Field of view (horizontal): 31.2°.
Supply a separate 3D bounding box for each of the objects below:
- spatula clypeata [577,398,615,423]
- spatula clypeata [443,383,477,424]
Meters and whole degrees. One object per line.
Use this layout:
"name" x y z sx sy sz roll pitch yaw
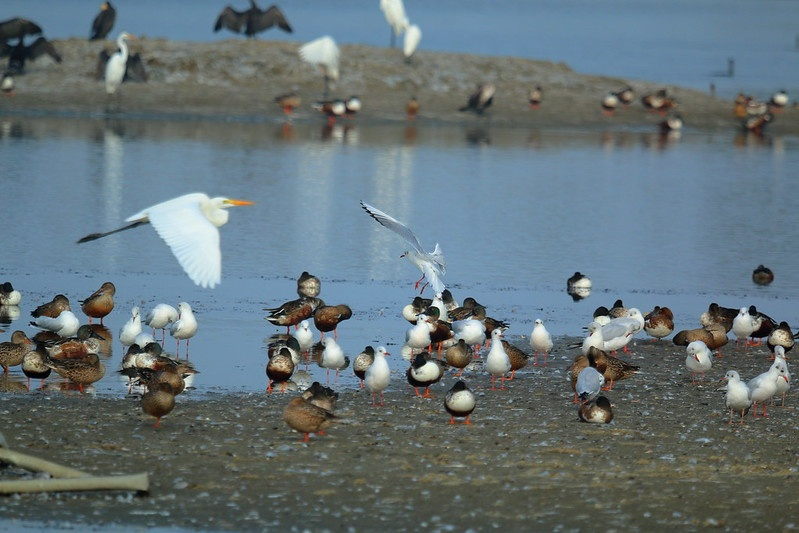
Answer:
"spatula clypeata" 4.113 3.088 30.374 0.562 0.426 0.683 3 0 -10
"spatula clypeata" 1.232 2.874 30.212 0.625 0.912 0.402 3 5 0
